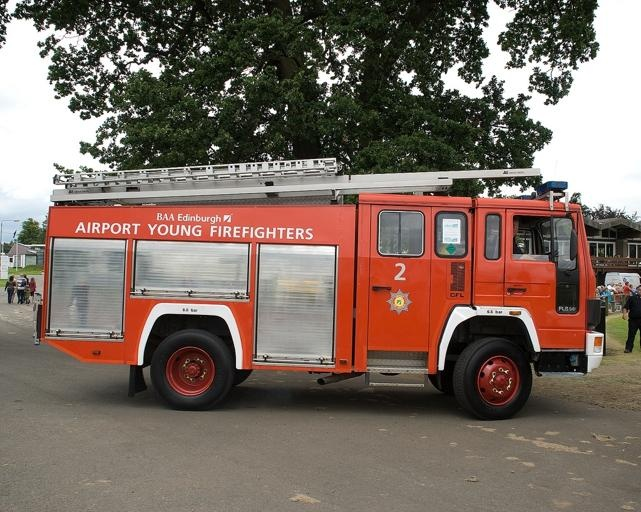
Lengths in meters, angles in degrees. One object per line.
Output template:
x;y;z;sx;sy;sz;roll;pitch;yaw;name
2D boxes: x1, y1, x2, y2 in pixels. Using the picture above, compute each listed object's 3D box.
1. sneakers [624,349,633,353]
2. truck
8.681;2.682;17.299;0.209;0.060;0.080;5;-5;0;sneakers
0.145;0.622;10.889;8.714;4.464;3.725;0;-7;0;truck
